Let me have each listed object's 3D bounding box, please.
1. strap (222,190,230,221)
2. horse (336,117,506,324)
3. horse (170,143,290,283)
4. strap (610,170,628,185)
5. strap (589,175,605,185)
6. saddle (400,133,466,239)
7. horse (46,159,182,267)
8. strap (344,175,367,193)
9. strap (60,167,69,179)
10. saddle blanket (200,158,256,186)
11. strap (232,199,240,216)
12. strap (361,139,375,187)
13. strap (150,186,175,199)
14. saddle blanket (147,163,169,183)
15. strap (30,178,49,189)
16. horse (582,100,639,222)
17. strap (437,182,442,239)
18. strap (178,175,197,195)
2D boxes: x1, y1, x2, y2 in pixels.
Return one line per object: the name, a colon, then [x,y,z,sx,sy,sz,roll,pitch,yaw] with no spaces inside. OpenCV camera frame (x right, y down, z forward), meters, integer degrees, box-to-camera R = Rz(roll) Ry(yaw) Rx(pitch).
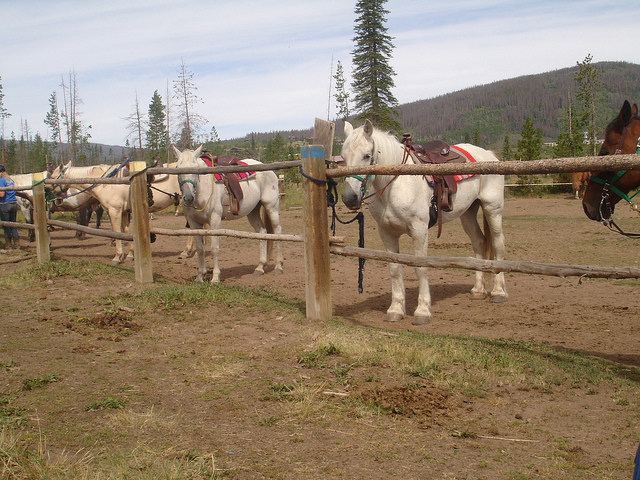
strap: [-1.696,-0.623,12.632,0.107,0.388,0.322,5,-10,-2]
horse: [1.545,-0.279,10.233,1.034,2.832,2.977,7,9,44]
horse: [-1.762,-0.440,13.060,1.019,2.371,3.657,-4,2,22]
strap: [3.563,-0.752,8.340,0.191,0.045,0.134,-42,16,-10]
strap: [3.344,-0.728,8.453,0.083,0.109,0.259,-2,7,-20]
saddle: [1.681,-0.762,10.191,0.848,1.532,1.036,2,7,11]
horse: [-3.976,-0.700,14.917,3.900,2.221,0.831,-5,-2,6]
strap: [0.465,-0.750,9.336,0.225,0.049,0.220,22,-1,42]
strap: [-6.022,-1.582,16.463,0.127,0.237,0.690,-1,7,-13]
saddle blanket: [-1.697,-1.261,12.882,0.502,0.455,1.169,5,8,33]
strap: [-1.526,-0.606,12.683,0.115,0.282,0.322,1,0,-10]
strap: [0.668,-1.064,9.583,0.121,0.786,0.099,7,-21,4]
strap: [-3.411,-1.023,15.033,0.153,0.110,1.086,-25,23,-23]
saddle blanket: [-3.505,-1.411,15.135,0.456,0.200,0.545,-4,24,-3]
strap: [-5.350,-1.070,13.286,0.273,0.162,0.411,-2,7,-21]
horse: [3.545,-0.950,8.449,0.613,1.453,0.602,3,7,18]
strap: [1.708,-0.474,9.964,0.057,0.685,0.146,2,7,7]
strap: [-2.207,-0.927,11.679,0.419,0.397,0.167,0,-9,-2]
